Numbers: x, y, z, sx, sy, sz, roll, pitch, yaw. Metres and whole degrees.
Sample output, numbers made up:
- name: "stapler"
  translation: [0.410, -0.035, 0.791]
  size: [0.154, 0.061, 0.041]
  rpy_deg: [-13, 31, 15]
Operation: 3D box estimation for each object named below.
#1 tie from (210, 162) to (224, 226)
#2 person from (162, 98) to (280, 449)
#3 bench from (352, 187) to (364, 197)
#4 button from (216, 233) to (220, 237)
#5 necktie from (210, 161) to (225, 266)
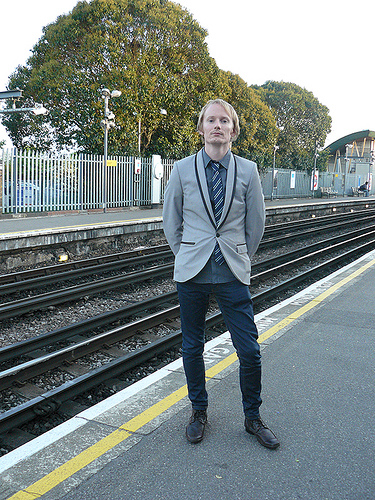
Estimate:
- name: "tie"
  translation: [0.152, -0.294, 1.827]
  size: [0.066, 0.316, 0.034]
  rpy_deg: [0, 0, 2]
- name: "person"
  translation: [0.168, 0.098, 1.925]
  size: [0.630, 1.823, 0.296]
  rpy_deg: [0, 0, 3]
- name: "bench"
  translation: [24.539, -8.584, 51.672]
  size: [1.371, 2.098, 1.481]
  rpy_deg: [-2, 4, -22]
- name: "button"
  translation: [0.154, -0.078, 1.829]
  size: [0.020, 0.020, 0.005]
  rpy_deg: [-4, 1, -12]
- name: "necktie"
  translation: [0.154, -0.190, 1.823]
  size: [0.056, 0.531, 0.071]
  rpy_deg: [0, 0, -19]
